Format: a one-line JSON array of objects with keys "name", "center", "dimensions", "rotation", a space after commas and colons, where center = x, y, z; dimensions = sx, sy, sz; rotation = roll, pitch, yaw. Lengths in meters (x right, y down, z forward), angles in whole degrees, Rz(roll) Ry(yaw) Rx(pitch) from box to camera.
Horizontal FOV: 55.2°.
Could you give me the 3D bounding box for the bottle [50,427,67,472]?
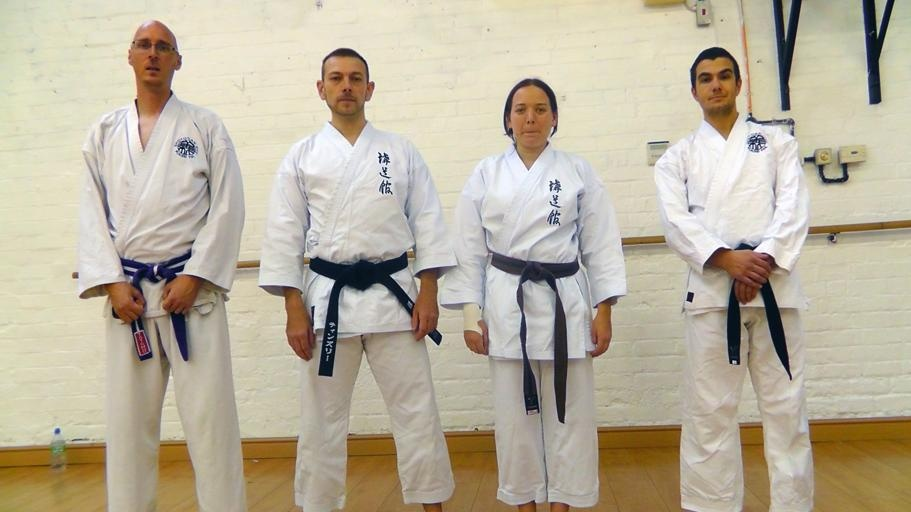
[{"name": "bottle", "center": [-2.897, 1.386, 6.366], "dimensions": [0.110, 0.288, 0.152], "rotation": [-9, 11, -14]}]
